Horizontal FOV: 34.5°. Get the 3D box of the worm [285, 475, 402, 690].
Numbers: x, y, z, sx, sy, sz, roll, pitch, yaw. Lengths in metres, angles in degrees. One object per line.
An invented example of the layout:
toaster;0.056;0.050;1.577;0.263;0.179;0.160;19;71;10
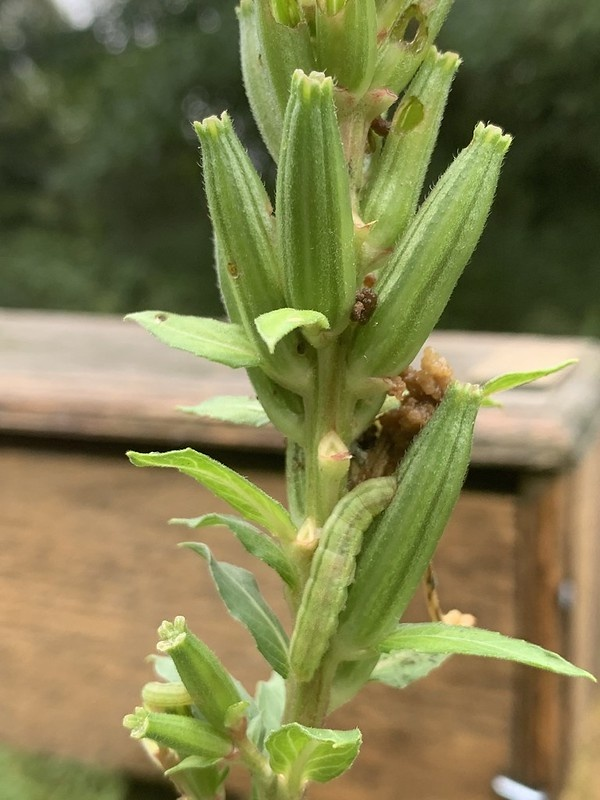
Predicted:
worm;0.023;0.150;0.669;0.038;0.130;0.027;10;30;-9
